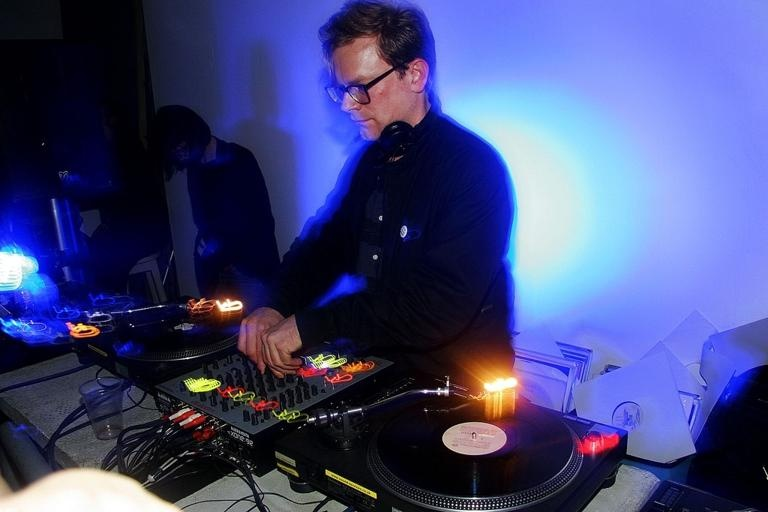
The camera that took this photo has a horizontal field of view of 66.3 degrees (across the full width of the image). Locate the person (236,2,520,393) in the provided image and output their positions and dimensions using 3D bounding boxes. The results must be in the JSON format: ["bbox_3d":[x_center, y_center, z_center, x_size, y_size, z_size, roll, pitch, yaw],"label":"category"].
[{"bbox_3d":[0.022,-0.289,2.524,1.202,1.532,1.133,10,21,20],"label":"person"}]

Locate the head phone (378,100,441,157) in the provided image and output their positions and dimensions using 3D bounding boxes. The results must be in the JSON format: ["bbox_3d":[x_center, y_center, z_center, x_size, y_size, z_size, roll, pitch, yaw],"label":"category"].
[{"bbox_3d":[0.109,-0.568,2.632,0.121,0.295,0.272,45,5,5],"label":"head phone"}]
